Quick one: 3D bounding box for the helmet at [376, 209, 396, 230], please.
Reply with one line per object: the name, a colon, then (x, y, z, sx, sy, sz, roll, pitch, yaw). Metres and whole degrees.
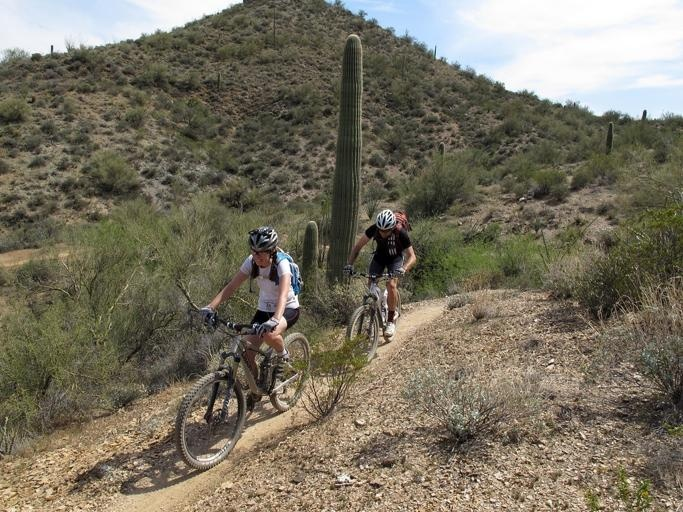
helmet: (0.891, -0.727, 12.411, 0.416, 0.382, 0.389, -4, 11, 0)

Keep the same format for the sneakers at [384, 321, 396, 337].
sneakers: (0.976, 1.481, 12.879, 0.178, 0.296, 0.587, -2, -10, 7)

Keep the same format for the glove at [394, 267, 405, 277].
glove: (1.148, 0.307, 12.399, 0.210, 0.167, 0.310, -3, 11, 7)

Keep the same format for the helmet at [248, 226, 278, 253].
helmet: (-1.279, -0.245, 10.496, 0.308, 0.441, 0.439, 7, 33, 6)

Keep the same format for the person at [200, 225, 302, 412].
person: (-1.364, 0.847, 10.685, 1.118, 2.656, 1.053, 2, 11, 25)

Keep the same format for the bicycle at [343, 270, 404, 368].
bicycle: (0.632, 1.104, 12.484, 0.799, 1.861, 1.406, 4, 13, 35)

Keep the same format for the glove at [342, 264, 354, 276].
glove: (0.131, 0.284, 12.401, 0.173, 0.245, 0.362, -4, 11, -2)
